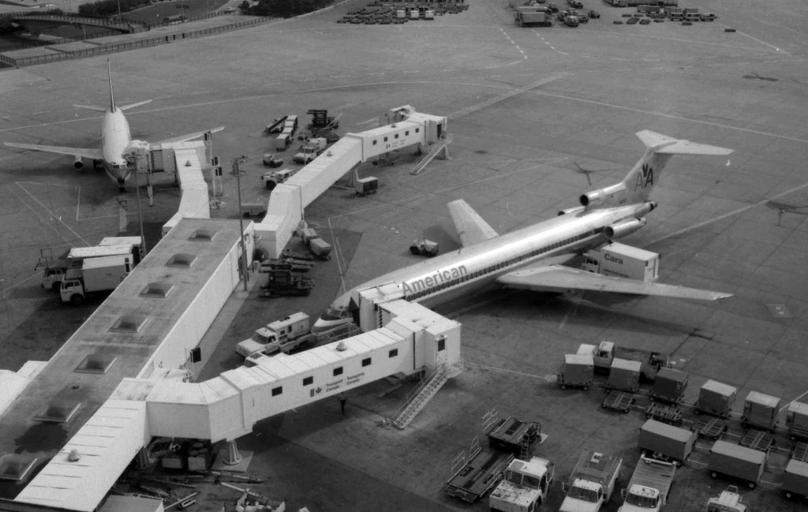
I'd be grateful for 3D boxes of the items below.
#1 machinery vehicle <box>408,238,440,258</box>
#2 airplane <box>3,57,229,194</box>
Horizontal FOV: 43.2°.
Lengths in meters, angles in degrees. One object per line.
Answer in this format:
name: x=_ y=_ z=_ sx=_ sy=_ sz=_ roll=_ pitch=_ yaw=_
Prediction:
machinery vehicle: x=2.262 y=-0.883 z=115.528 sx=3.011 sy=1.175 sz=1.893 roll=11 pitch=26 yaw=22
airplane: x=-37.927 y=-13.728 z=137.395 sx=25.556 sy=8.430 sz=22.103 roll=-7 pitch=28 yaw=-16
